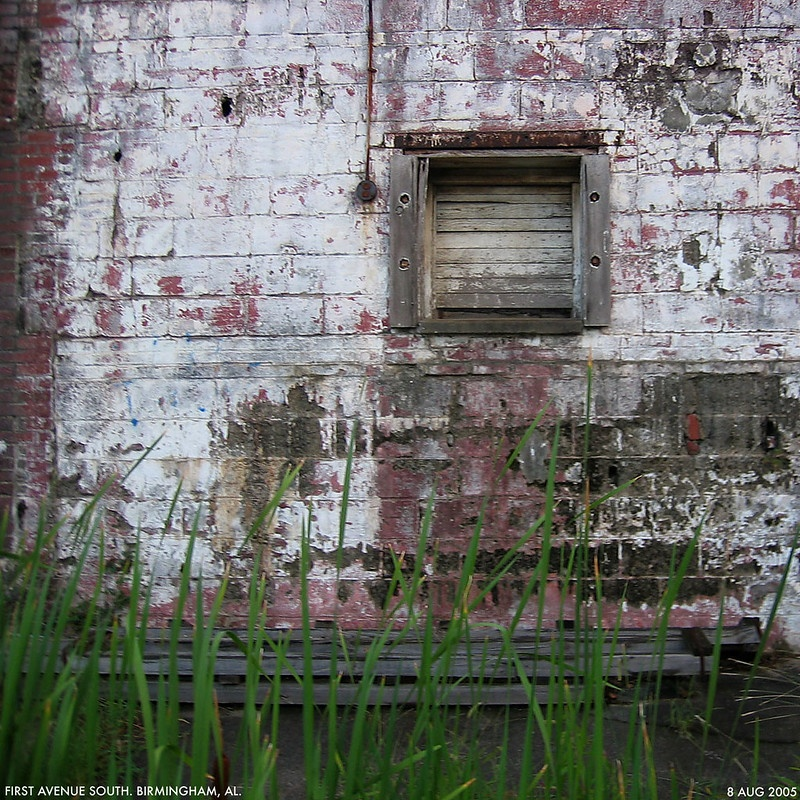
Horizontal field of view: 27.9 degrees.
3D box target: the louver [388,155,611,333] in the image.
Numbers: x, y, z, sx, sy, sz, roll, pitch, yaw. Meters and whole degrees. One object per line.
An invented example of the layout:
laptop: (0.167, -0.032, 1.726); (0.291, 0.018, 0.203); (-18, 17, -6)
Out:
louver: (0.480, -0.688, 7.244); (0.932, 0.674, 0.316); (0, -4, 1)
